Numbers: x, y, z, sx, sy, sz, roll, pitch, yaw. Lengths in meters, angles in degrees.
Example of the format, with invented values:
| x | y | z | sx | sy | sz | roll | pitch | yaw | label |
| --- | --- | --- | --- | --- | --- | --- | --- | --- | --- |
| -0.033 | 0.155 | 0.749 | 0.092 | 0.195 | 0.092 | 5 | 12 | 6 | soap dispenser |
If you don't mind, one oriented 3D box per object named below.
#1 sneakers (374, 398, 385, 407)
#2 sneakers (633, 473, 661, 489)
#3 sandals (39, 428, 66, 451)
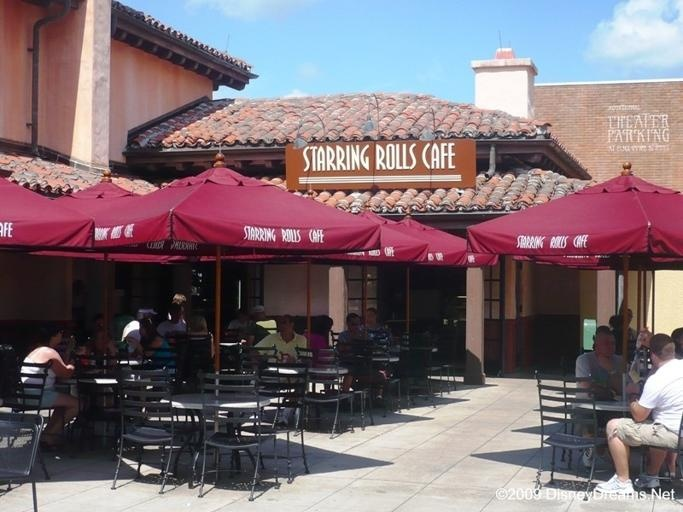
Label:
| x | y | z | sx | sy | sz | roll | pitch | yaw | label |
| --- | --- | --- | --- | --- | --- | --- | --- | --- | --- |
| 0.748 | 2.803 | 21.892 | 0.185 | 0.161 | 0.172 | 0 | -6 | 2 | sneakers |
| 4.339 | 3.201 | 16.325 | 0.429 | 0.176 | 0.166 | 1 | 3 | 16 | sneakers |
| -4.668 | 2.941 | 18.281 | 0.551 | 0.201 | 0.172 | -6 | -7 | 37 | sandals |
